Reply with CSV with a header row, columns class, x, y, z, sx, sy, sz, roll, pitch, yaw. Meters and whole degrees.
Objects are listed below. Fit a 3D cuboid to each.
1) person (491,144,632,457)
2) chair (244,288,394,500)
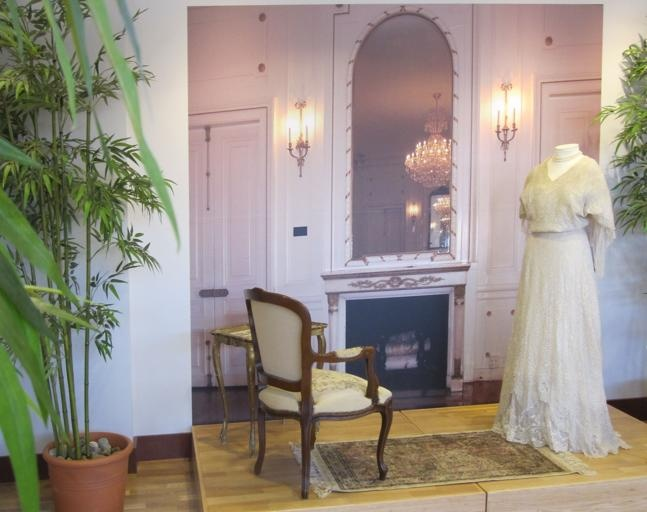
class,x,y,z,sx,sy,sz,roll,pitch,yaw
person,1.460,0.257,3.670,0.738,1.863,0.426,3,8,28
chair,-0.062,0.694,3.471,0.778,1.123,0.791,-2,7,-19
